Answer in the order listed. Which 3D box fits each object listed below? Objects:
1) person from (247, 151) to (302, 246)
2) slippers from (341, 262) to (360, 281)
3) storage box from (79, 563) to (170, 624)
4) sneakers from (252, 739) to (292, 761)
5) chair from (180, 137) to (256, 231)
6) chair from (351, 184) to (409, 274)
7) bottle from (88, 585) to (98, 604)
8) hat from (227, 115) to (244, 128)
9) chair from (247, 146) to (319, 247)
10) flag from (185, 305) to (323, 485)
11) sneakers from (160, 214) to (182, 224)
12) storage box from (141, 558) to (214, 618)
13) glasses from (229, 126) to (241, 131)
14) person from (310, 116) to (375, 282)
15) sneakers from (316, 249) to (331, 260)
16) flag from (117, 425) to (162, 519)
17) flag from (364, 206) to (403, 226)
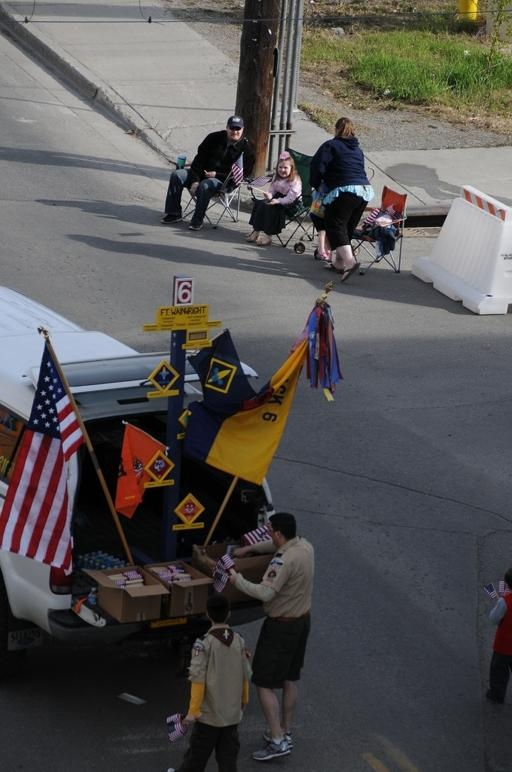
[{"bbox_3d":[0.340,-2.695,13.772,0.670,1.399,0.802,8,19,-11],"label":"person"},{"bbox_3d":[1.256,-1.541,12.745,0.138,0.364,0.102,-20,59,-43],"label":"slippers"},{"bbox_3d":[-0.621,1.048,4.721,0.407,0.159,0.378,7,-7,-44],"label":"storage box"},{"bbox_3d":[0.087,1.843,4.823,0.222,0.086,0.078,-8,8,-1],"label":"sneakers"},{"bbox_3d":[-0.670,-3.179,14.226,1.092,1.494,0.859,9,27,-21],"label":"chair"},{"bbox_3d":[1.594,-2.170,13.014,0.749,1.036,0.894,-7,30,-21],"label":"chair"},{"bbox_3d":[-0.806,1.028,4.723,0.044,0.094,0.040,2,25,-1],"label":"bottle"},{"bbox_3d":[-0.295,-3.921,14.103,0.214,0.175,0.325,9,18,-5],"label":"hat"},{"bbox_3d":[0.313,-2.721,13.729,0.742,1.234,0.516,-11,25,-42],"label":"chair"},{"bbox_3d":[-0.068,0.098,5.348,0.609,0.837,0.308,9,19,-7],"label":"flag"},{"bbox_3d":[-1.286,-2.551,14.411,0.359,0.138,0.119,-5,6,-45],"label":"sneakers"},{"bbox_3d":[-0.393,1.015,4.958,0.206,0.181,0.343,-3,19,-25],"label":"storage box"},{"bbox_3d":[-0.279,-3.814,14.013,0.160,0.065,0.060,1,21,-25],"label":"glasses"},{"bbox_3d":[1.095,-2.483,12.556,0.882,2.032,0.443,11,19,0],"label":"person"},{"bbox_3d":[0.968,-1.909,13.665,0.153,0.168,0.077,3,7,4],"label":"sneakers"},{"bbox_3d":[-0.635,0.466,5.169,0.220,0.536,0.233,9,19,-7],"label":"flag"},{"bbox_3d":[1.746,-2.316,12.879,0.382,0.155,0.362,-28,18,-37],"label":"flag"}]
